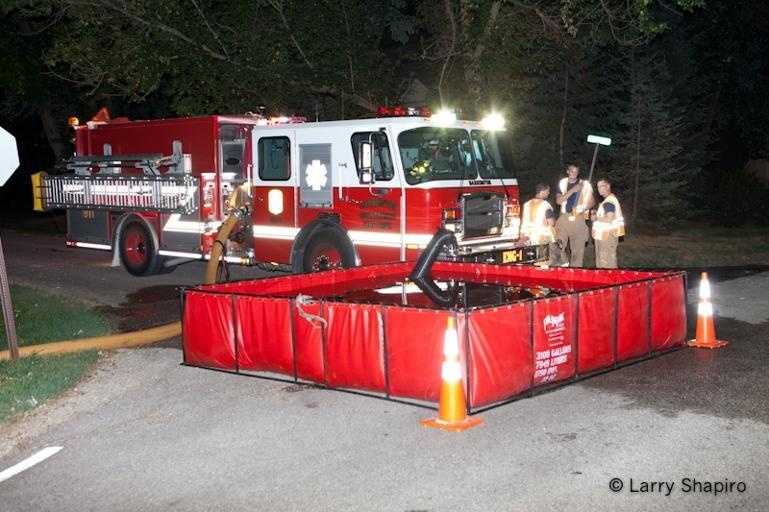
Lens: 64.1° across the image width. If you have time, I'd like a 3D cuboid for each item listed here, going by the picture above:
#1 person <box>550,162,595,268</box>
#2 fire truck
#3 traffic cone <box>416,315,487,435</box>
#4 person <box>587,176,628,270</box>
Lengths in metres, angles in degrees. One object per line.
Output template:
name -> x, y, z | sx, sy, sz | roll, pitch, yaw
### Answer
person -> 4.062, -0.824, 13.279 | 0.728, 2.739, 0.829 | 0, 1, -9
fire truck -> -3.114, -1.406, 13.902 | 12.302, 3.978, 2.808 | 5, 12, 29
traffic cone -> 0.756, 1.280, 6.724 | 0.580, 1.204, 0.374 | -7, 12, -30
person -> 4.615, -0.542, 12.649 | 0.757, 2.542, 0.712 | -1, 1, -29
